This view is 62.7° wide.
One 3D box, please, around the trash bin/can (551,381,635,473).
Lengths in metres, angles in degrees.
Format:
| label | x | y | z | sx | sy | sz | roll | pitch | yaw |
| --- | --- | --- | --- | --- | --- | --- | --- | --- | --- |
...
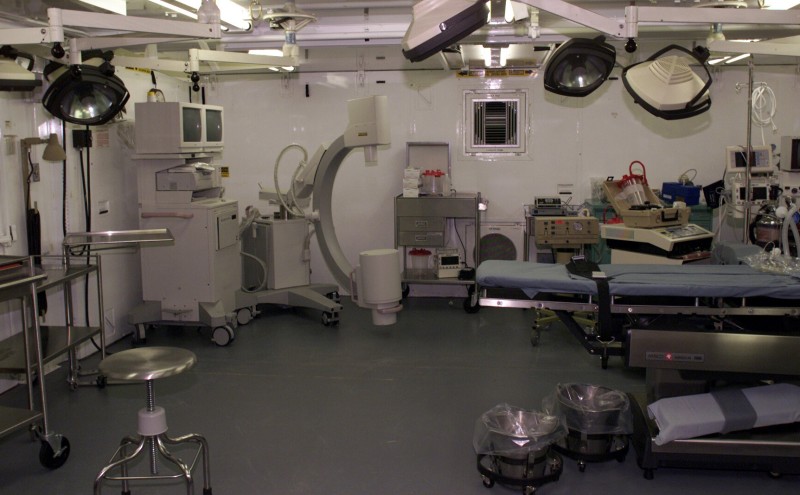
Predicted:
| label | x | y | z | sx | sy | sz | roll | pitch | yaw |
| --- | --- | --- | --- | --- | --- | --- | --- | --- | --- |
| trash bin/can | 1.618 | 1.478 | 5.424 | 0.622 | 0.565 | 0.453 | 0 | 9 | 8 |

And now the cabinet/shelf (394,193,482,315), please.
| label | x | y | z | sx | sy | sz | roll | pitch | yaw |
| --- | --- | --- | --- | --- | --- | --- | --- | --- | --- |
| cabinet/shelf | 0.511 | 0.056 | 8.557 | 1.655 | 1.838 | 0.902 | 0 | 6 | 5 |

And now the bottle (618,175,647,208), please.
| label | x | y | z | sx | sy | sz | roll | pitch | yaw |
| --- | --- | --- | --- | --- | --- | --- | --- | --- | --- |
| bottle | 2.697 | -0.681 | 7.561 | 0.310 | 0.401 | 0.168 | -16 | -11 | 13 |

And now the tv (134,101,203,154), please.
| label | x | y | z | sx | sy | sz | roll | pitch | yaw |
| --- | --- | --- | --- | --- | --- | --- | --- | --- | --- |
| tv | -2.568 | -1.305 | 7.408 | 0.596 | 0.576 | 0.822 | 1 | 8 | 1 |

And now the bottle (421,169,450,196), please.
| label | x | y | z | sx | sy | sz | roll | pitch | yaw |
| --- | --- | --- | --- | --- | --- | --- | --- | --- | --- |
| bottle | 0.478 | -0.855 | 8.729 | 0.358 | 0.321 | 0.341 | 2 | 4 | 5 |

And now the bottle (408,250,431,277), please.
| label | x | y | z | sx | sy | sz | roll | pitch | yaw |
| --- | --- | --- | --- | --- | --- | --- | --- | --- | --- |
| bottle | 0.295 | 0.217 | 8.995 | 0.365 | 0.326 | 0.351 | 0 | 5 | -9 |

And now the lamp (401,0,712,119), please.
| label | x | y | z | sx | sy | sz | roll | pitch | yaw |
| --- | --- | --- | --- | --- | --- | --- | --- | --- | --- |
| lamp | 1.182 | -1.469 | 4.924 | 1.952 | 0.722 | 1.030 | 15 | 18 | -7 |

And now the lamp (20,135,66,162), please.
| label | x | y | z | sx | sy | sz | roll | pitch | yaw |
| --- | --- | --- | --- | --- | --- | --- | --- | --- | --- |
| lamp | -3.445 | -0.977 | 6.436 | 0.413 | 0.236 | 0.229 | -1 | 8 | -11 |

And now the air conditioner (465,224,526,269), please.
| label | x | y | z | sx | sy | sz | roll | pitch | yaw |
| --- | --- | --- | --- | --- | --- | --- | --- | --- | --- |
| air conditioner | 1.339 | -0.093 | 9.189 | 0.842 | 0.759 | 0.472 | 0 | -1 | 5 |
